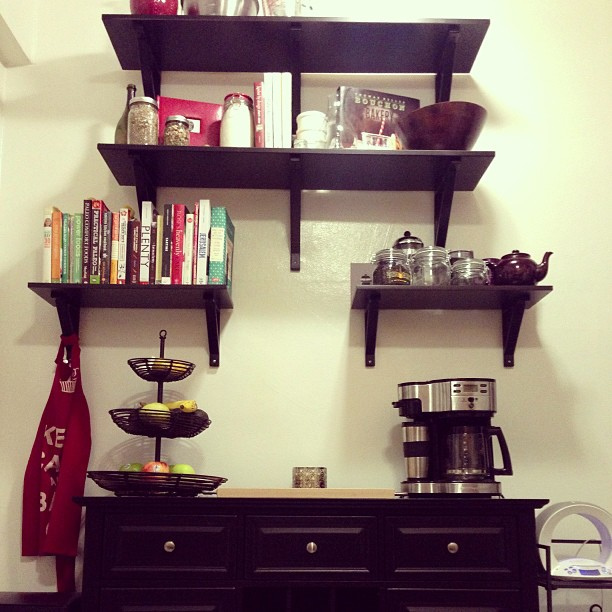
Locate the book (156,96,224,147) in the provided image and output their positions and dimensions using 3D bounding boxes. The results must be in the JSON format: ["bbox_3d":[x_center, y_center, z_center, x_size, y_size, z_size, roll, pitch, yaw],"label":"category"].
[{"bbox_3d":[-0.410,-0.638,2.606,0.256,0.219,0.059,6,-4,-16],"label":"book"}]

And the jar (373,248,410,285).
[{"bbox_3d":[0.283,-0.126,2.543,0.132,0.121,0.119,0,-15,2],"label":"jar"}]

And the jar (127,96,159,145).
[{"bbox_3d":[-0.563,-0.619,2.576,0.116,0.173,0.116,2,4,0],"label":"jar"}]

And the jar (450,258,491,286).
[{"bbox_3d":[0.547,-0.105,2.481,0.105,0.084,0.106,-1,-2,0],"label":"jar"}]

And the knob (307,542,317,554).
[{"bbox_3d":[0.017,0.688,2.125,0.028,0.031,0.009,4,-7,0],"label":"knob"}]

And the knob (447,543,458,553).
[{"bbox_3d":[0.421,0.692,2.135,0.030,0.027,0.009,7,-8,-18],"label":"knob"}]

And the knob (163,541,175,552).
[{"bbox_3d":[-0.388,0.682,2.115,0.028,0.026,0.011,-14,3,-9],"label":"knob"}]

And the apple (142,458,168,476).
[{"bbox_3d":[-0.462,0.494,2.291,0.067,0.060,0.069,2,-1,43],"label":"apple"}]

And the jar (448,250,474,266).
[{"bbox_3d":[0.531,-0.174,2.558,0.063,0.062,0.069,2,-9,0],"label":"jar"}]

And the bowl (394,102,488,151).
[{"bbox_3d":[0.453,-0.618,2.564,0.239,0.087,0.228,0,-4,0],"label":"bowl"}]

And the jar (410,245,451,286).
[{"bbox_3d":[0.411,-0.130,2.544,0.151,0.133,0.149,-1,7,0],"label":"jar"}]

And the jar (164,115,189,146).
[{"bbox_3d":[-0.440,-0.601,2.551,0.085,0.124,0.057,6,-7,-12],"label":"jar"}]

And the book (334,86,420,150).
[{"bbox_3d":[0.245,-0.658,2.640,0.313,0.190,0.050,2,-12,-10],"label":"book"}]

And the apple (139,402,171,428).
[{"bbox_3d":[-0.468,0.327,2.279,0.072,0.055,0.077,0,-11,0],"label":"apple"}]
